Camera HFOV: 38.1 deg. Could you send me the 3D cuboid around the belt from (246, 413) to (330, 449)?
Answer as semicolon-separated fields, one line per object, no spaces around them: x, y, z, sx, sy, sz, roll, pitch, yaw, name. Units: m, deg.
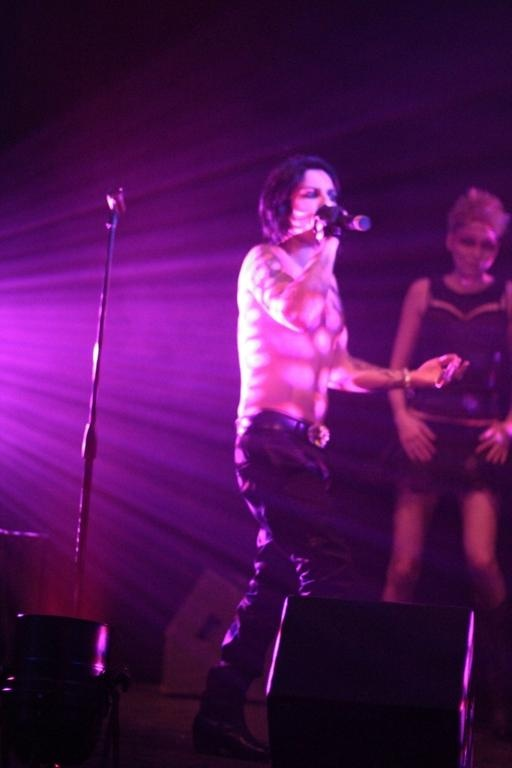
0.114;0.148;2.560;0.200;0.070;0.148;15;-1;-20;belt
